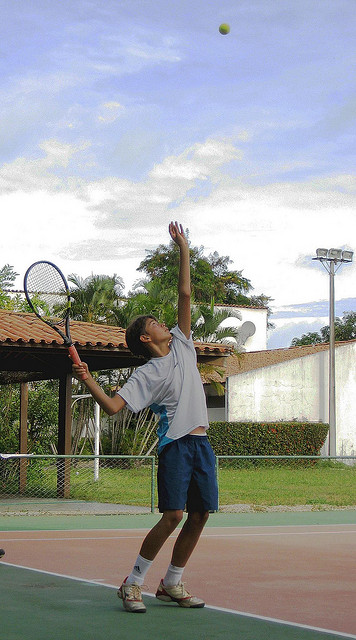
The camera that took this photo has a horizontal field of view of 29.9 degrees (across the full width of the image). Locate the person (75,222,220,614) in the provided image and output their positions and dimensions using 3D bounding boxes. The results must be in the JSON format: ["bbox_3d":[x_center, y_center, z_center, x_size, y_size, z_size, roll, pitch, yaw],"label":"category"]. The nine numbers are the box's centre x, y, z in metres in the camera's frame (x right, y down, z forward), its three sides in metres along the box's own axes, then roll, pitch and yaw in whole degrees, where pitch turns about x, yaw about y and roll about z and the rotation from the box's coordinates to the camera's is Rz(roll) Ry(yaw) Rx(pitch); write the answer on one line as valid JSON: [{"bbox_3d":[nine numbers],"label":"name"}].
[{"bbox_3d":[-0.111,0.520,3.646,0.652,2.203,0.435,2,-4,-26],"label":"person"}]
